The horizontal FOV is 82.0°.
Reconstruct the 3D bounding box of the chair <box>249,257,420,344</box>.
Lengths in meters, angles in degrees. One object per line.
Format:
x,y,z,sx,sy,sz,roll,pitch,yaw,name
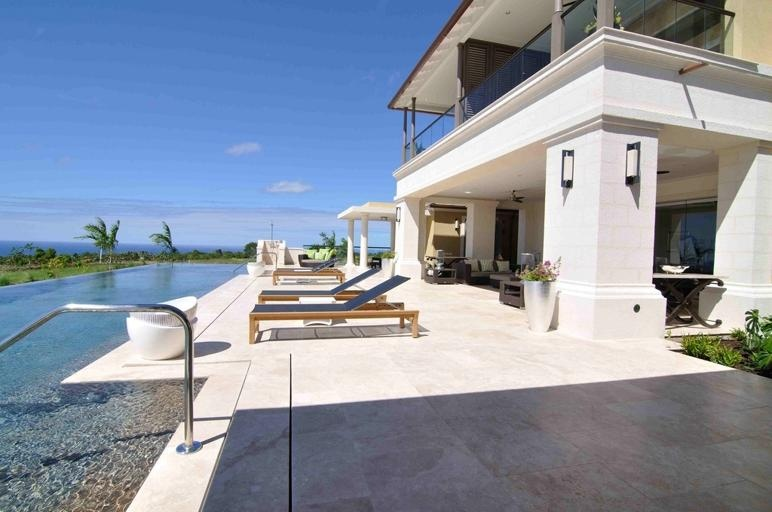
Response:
-0.776,0.835,7.296,2.700,0.875,1.216,3,-2,-7,chair

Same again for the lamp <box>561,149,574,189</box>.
3.178,-1.508,7.668,0.184,0.668,0.181,0,9,3,lamp

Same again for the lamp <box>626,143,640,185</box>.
4.062,-1.506,7.234,0.221,0.693,0.199,3,9,18,lamp

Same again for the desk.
5.753,0.868,8.450,1.432,0.700,1.447,11,-9,-40,desk

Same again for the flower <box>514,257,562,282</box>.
2.746,0.233,7.854,0.632,0.429,0.658,5,9,32,flower

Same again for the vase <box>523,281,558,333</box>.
2.675,0.870,7.682,0.509,0.894,0.263,2,9,14,vase
